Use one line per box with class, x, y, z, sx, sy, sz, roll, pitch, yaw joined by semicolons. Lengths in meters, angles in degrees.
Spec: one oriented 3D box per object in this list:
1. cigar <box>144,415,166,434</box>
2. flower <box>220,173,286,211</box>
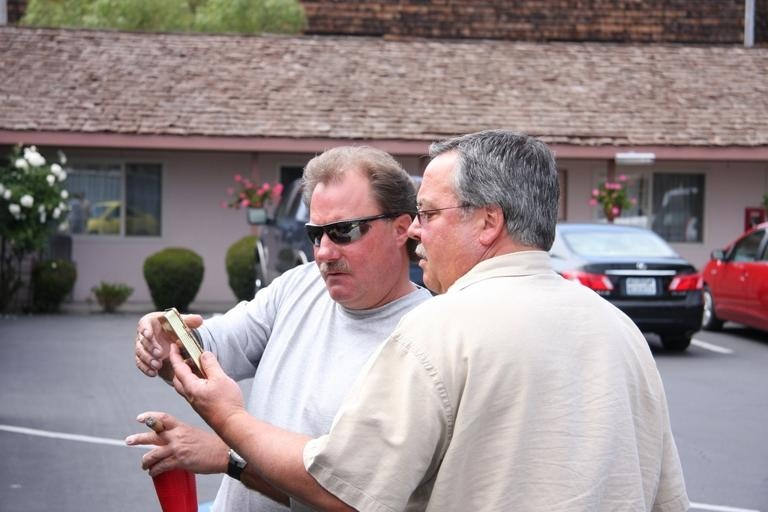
cigar;-1.438;1.064;8.324;0.127;0.075;0.045;41;7;3
flower;-1.410;-0.635;13.870;0.443;0.274;0.352;3;5;-6
